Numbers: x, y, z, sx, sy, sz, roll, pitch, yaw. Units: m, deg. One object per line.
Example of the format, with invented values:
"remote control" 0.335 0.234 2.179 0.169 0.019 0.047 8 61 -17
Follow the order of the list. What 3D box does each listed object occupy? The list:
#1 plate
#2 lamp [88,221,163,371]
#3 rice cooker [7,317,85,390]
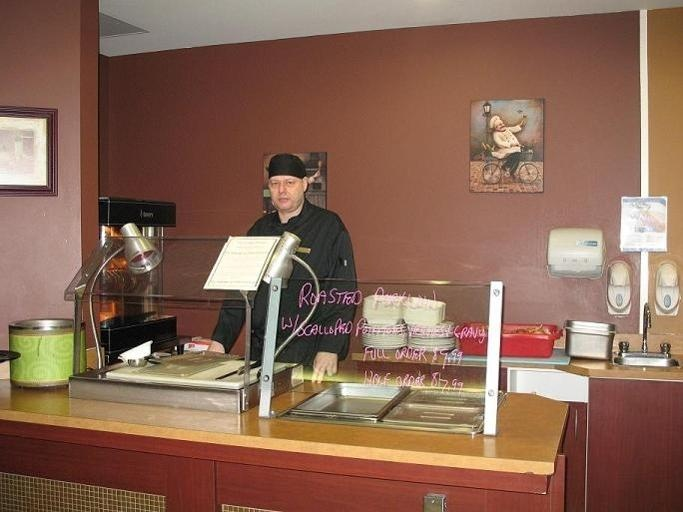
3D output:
"plate" 0.228 0.231 2.148 0.330 0.202 0.059 7 10 13
"lamp" -0.832 0.077 2.459 0.201 0.681 0.249 7 4 8
"rice cooker" -1.130 0.365 2.482 0.269 0.217 0.275 1 -2 3
